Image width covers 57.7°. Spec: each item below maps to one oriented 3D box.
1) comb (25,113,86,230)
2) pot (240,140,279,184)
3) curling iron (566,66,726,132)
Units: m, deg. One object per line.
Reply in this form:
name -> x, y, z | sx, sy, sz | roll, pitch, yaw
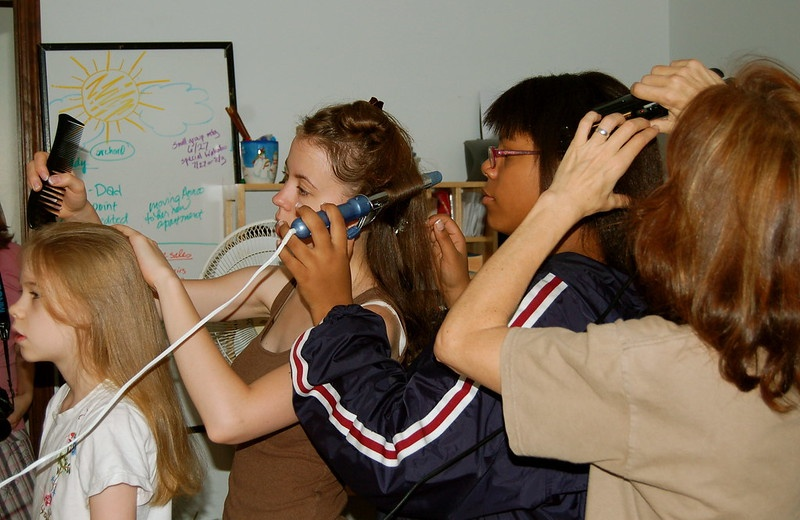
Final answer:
comb -> -0.888, -0.227, 1.899 | 0.148, 0.291, 0.180 | 3, 13, 23
pot -> -0.544, -0.359, 2.827 | 0.147, 0.181, 0.148 | -4, 3, 0
curling iron -> 0.513, -0.344, 1.609 | 0.210, 0.090, 0.064 | 25, -18, -2
